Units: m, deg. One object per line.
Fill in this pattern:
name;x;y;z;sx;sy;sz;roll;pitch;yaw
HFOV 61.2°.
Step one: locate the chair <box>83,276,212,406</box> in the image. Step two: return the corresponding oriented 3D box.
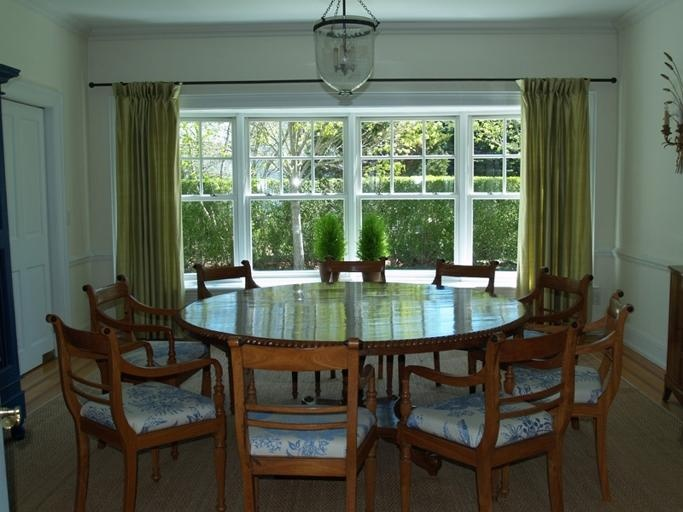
chair;-1.278;0.561;3.861;0.714;1.094;0.726;1;7;11
